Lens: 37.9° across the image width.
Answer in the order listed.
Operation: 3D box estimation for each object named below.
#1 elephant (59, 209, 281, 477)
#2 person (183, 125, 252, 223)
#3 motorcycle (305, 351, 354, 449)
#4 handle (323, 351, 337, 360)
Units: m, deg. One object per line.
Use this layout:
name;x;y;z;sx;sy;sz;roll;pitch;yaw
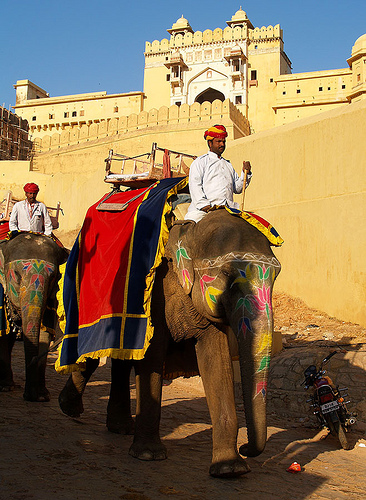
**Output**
elephant;-0.096;0.494;3.077;0.836;1.328;1.744;10;-10;-36
person;0.191;-0.387;3.310;0.401;0.757;0.359;3;-2;-11
motorcycle;1.341;1.320;4.877;0.462;0.653;1.090;-21;-8;8
handle;1.379;0.974;4.937;0.053;0.039;0.225;-17;3;32
